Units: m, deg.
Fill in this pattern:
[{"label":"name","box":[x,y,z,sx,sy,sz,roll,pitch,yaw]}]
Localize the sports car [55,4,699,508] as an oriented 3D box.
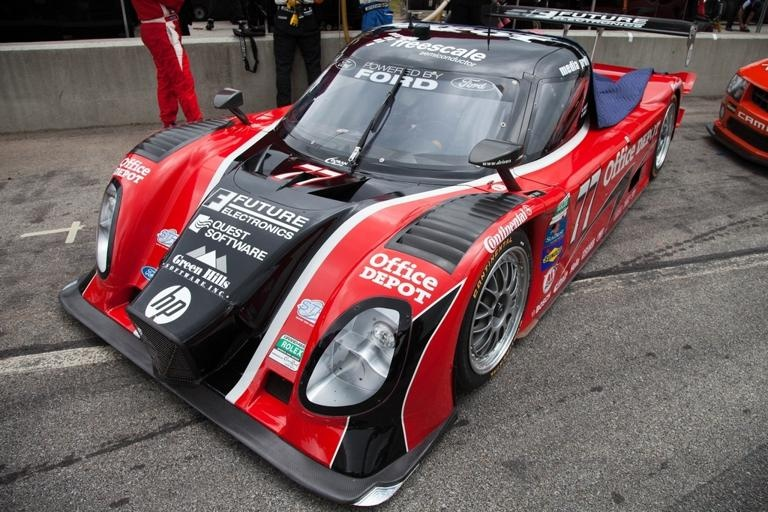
[{"label":"sports car","box":[0.515,-0.347,3.823,2.696,1.446,4.574,32,50,26]}]
